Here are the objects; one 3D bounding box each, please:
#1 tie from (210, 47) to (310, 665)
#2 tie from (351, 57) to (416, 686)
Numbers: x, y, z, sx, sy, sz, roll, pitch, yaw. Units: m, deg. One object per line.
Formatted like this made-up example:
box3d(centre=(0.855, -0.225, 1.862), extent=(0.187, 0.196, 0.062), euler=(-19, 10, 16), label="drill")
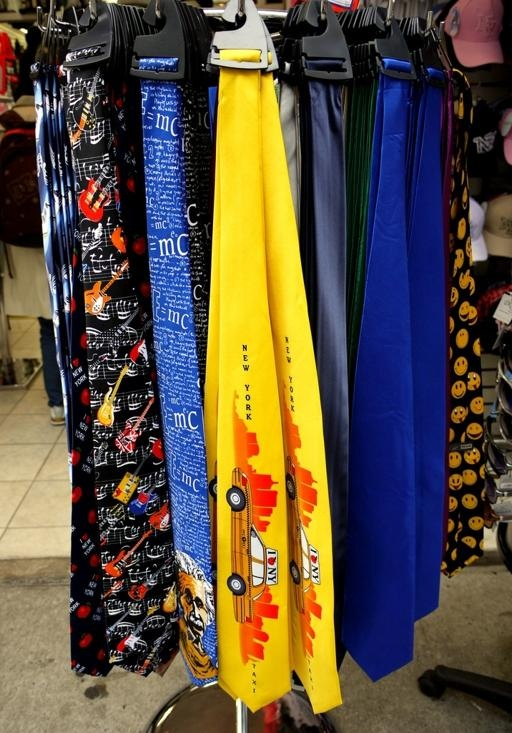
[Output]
box3d(centre=(0.001, 0.059, 0.797), extent=(0.141, 0.798, 0.089), euler=(-2, 19, 4), label="tie")
box3d(centre=(0.149, 0.045, 0.838), extent=(0.092, 0.759, 0.122), euler=(-1, 19, 7), label="tie")
